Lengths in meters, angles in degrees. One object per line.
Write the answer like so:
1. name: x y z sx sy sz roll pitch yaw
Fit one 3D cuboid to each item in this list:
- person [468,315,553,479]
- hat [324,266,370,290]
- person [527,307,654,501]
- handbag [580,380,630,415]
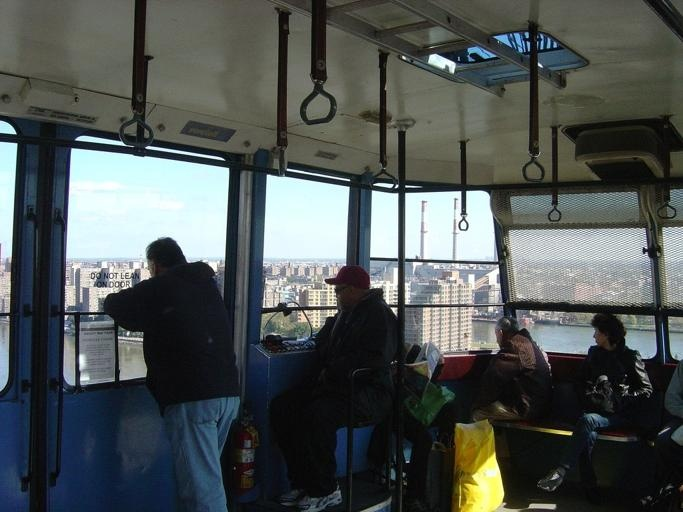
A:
1. person: 1.595 1.250 6.351 0.971 1.656 0.726 -2 -14 39
2. hat: 0.077 0.223 5.550 0.300 0.169 0.217 1 -6 11
3. person: 2.610 1.460 6.016 1.345 1.679 0.551 0 -2 -31
4. handbag: 2.581 1.377 5.905 0.278 0.354 0.368 1 5 41
